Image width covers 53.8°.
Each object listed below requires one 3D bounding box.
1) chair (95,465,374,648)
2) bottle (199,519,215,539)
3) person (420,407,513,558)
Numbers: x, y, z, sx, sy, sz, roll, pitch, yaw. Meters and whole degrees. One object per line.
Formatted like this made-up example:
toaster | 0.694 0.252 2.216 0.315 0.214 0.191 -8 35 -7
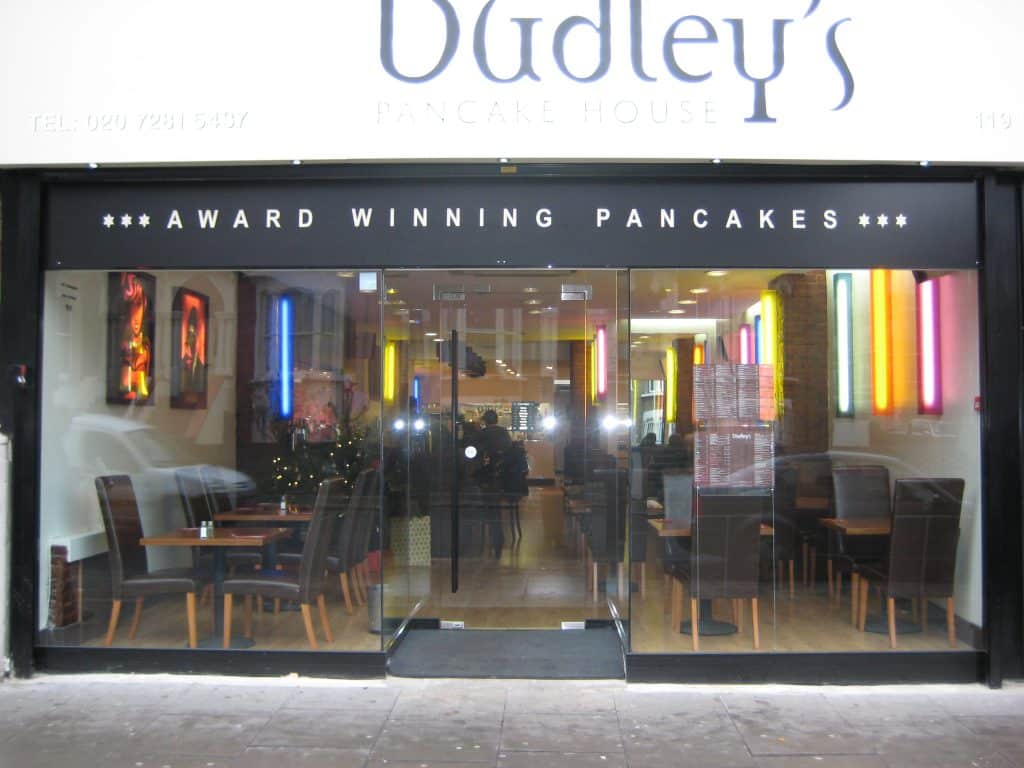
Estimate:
chair | -2.144 1.276 7.366 1.757 1.098 0.590 0 15 2
bottle | -2.248 1.064 7.460 0.104 0.201 0.107 -2 -10 0
person | -0.390 0.842 8.736 0.786 1.166 0.527 -1 15 -1
